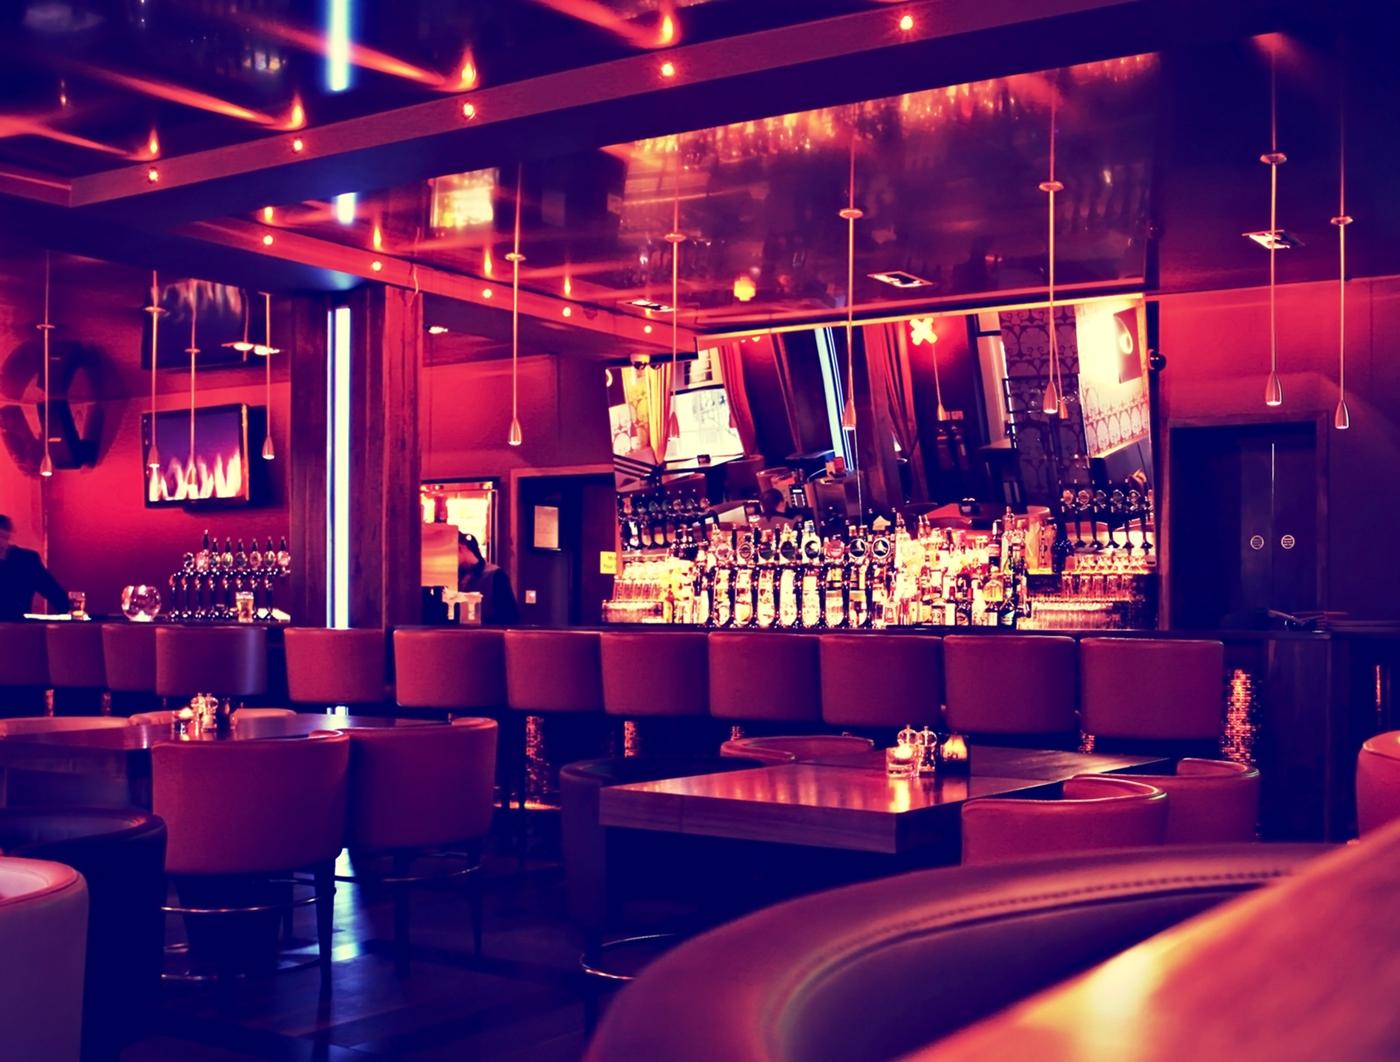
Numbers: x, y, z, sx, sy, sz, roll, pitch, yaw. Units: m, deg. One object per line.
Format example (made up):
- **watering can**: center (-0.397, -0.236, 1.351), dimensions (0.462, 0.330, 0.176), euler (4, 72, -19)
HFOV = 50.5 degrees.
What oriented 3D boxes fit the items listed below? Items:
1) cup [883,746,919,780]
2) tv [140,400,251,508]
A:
- **cup**: center (0.543, 0.635, 4.055), dimensions (0.082, 0.077, 0.072), euler (0, -1, -10)
- **tv**: center (-4.415, -0.653, 13.101), dimensions (1.289, 0.922, 0.126), euler (-1, 2, 29)
